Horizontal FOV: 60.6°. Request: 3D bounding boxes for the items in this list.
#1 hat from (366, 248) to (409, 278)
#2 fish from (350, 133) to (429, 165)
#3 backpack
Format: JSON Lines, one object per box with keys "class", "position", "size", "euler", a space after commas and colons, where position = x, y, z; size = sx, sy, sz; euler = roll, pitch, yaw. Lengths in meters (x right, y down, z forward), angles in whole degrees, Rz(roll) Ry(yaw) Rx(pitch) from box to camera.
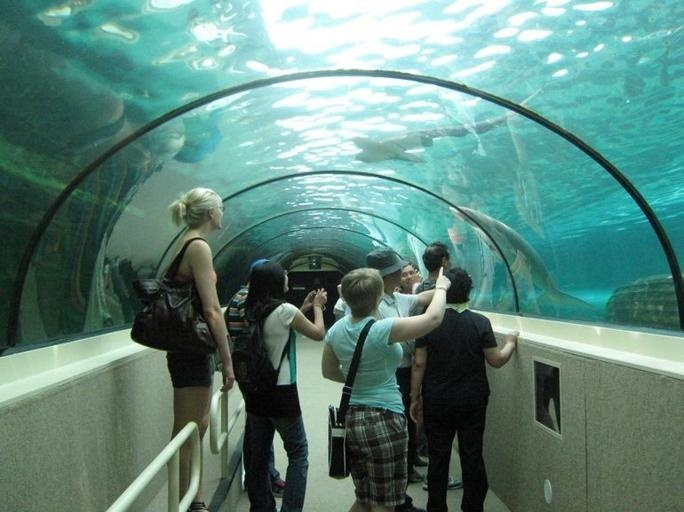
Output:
{"class": "hat", "position": [0.402, 0.052, 5.103], "size": [0.280, 0.132, 0.261], "euler": [-22, 9, -2]}
{"class": "fish", "position": [0.615, -1.357, 7.475], "size": [0.452, 0.310, 0.994], "euler": [4, 4, 18]}
{"class": "backpack", "position": [-0.640, 0.737, 4.730], "size": [0.466, 0.739, 0.213], "euler": [-1, -6, -5]}
